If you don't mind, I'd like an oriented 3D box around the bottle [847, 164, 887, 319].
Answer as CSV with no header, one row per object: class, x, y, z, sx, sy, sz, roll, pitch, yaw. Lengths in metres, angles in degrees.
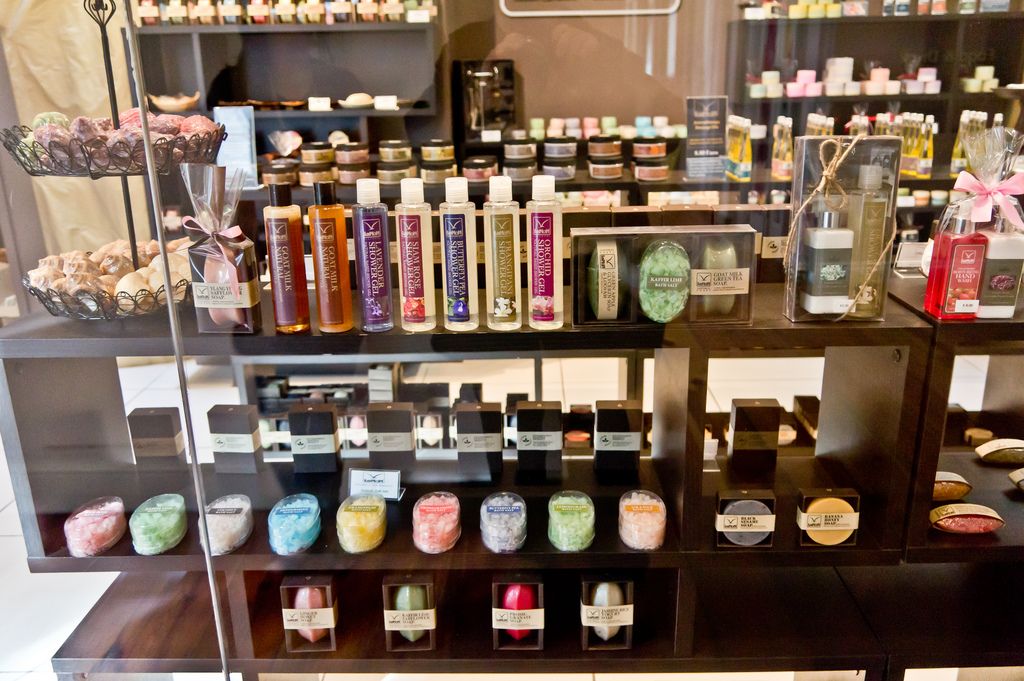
bottle,0.682,-0.189,1.507,0.066,0.287,0.067,-3,18,1
